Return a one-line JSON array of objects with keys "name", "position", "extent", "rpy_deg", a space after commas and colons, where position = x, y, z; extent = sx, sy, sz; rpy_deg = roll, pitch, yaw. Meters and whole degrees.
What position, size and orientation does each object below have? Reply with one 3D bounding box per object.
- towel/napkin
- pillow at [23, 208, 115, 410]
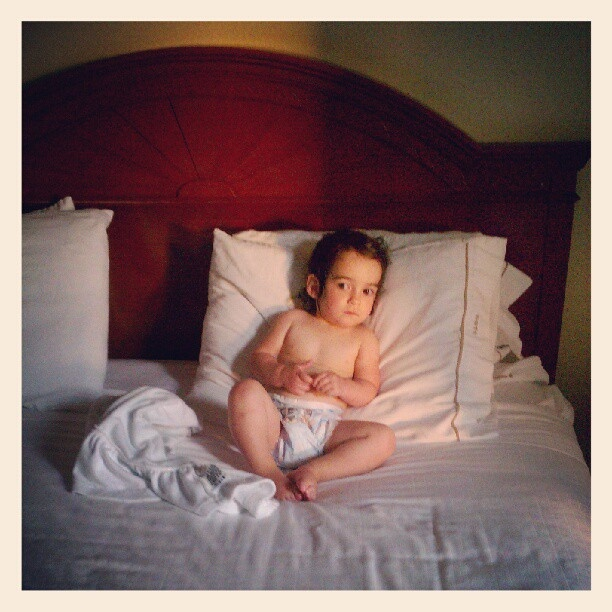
[{"name": "towel/napkin", "position": [-0.237, 0.285, 1.031], "extent": [0.273, 0.106, 0.221], "rpy_deg": [10, 22, 2]}, {"name": "pillow", "position": [-0.615, 0.003, 1.451], "extent": [0.108, 0.431, 0.389], "rpy_deg": [3, 3, 18]}]
